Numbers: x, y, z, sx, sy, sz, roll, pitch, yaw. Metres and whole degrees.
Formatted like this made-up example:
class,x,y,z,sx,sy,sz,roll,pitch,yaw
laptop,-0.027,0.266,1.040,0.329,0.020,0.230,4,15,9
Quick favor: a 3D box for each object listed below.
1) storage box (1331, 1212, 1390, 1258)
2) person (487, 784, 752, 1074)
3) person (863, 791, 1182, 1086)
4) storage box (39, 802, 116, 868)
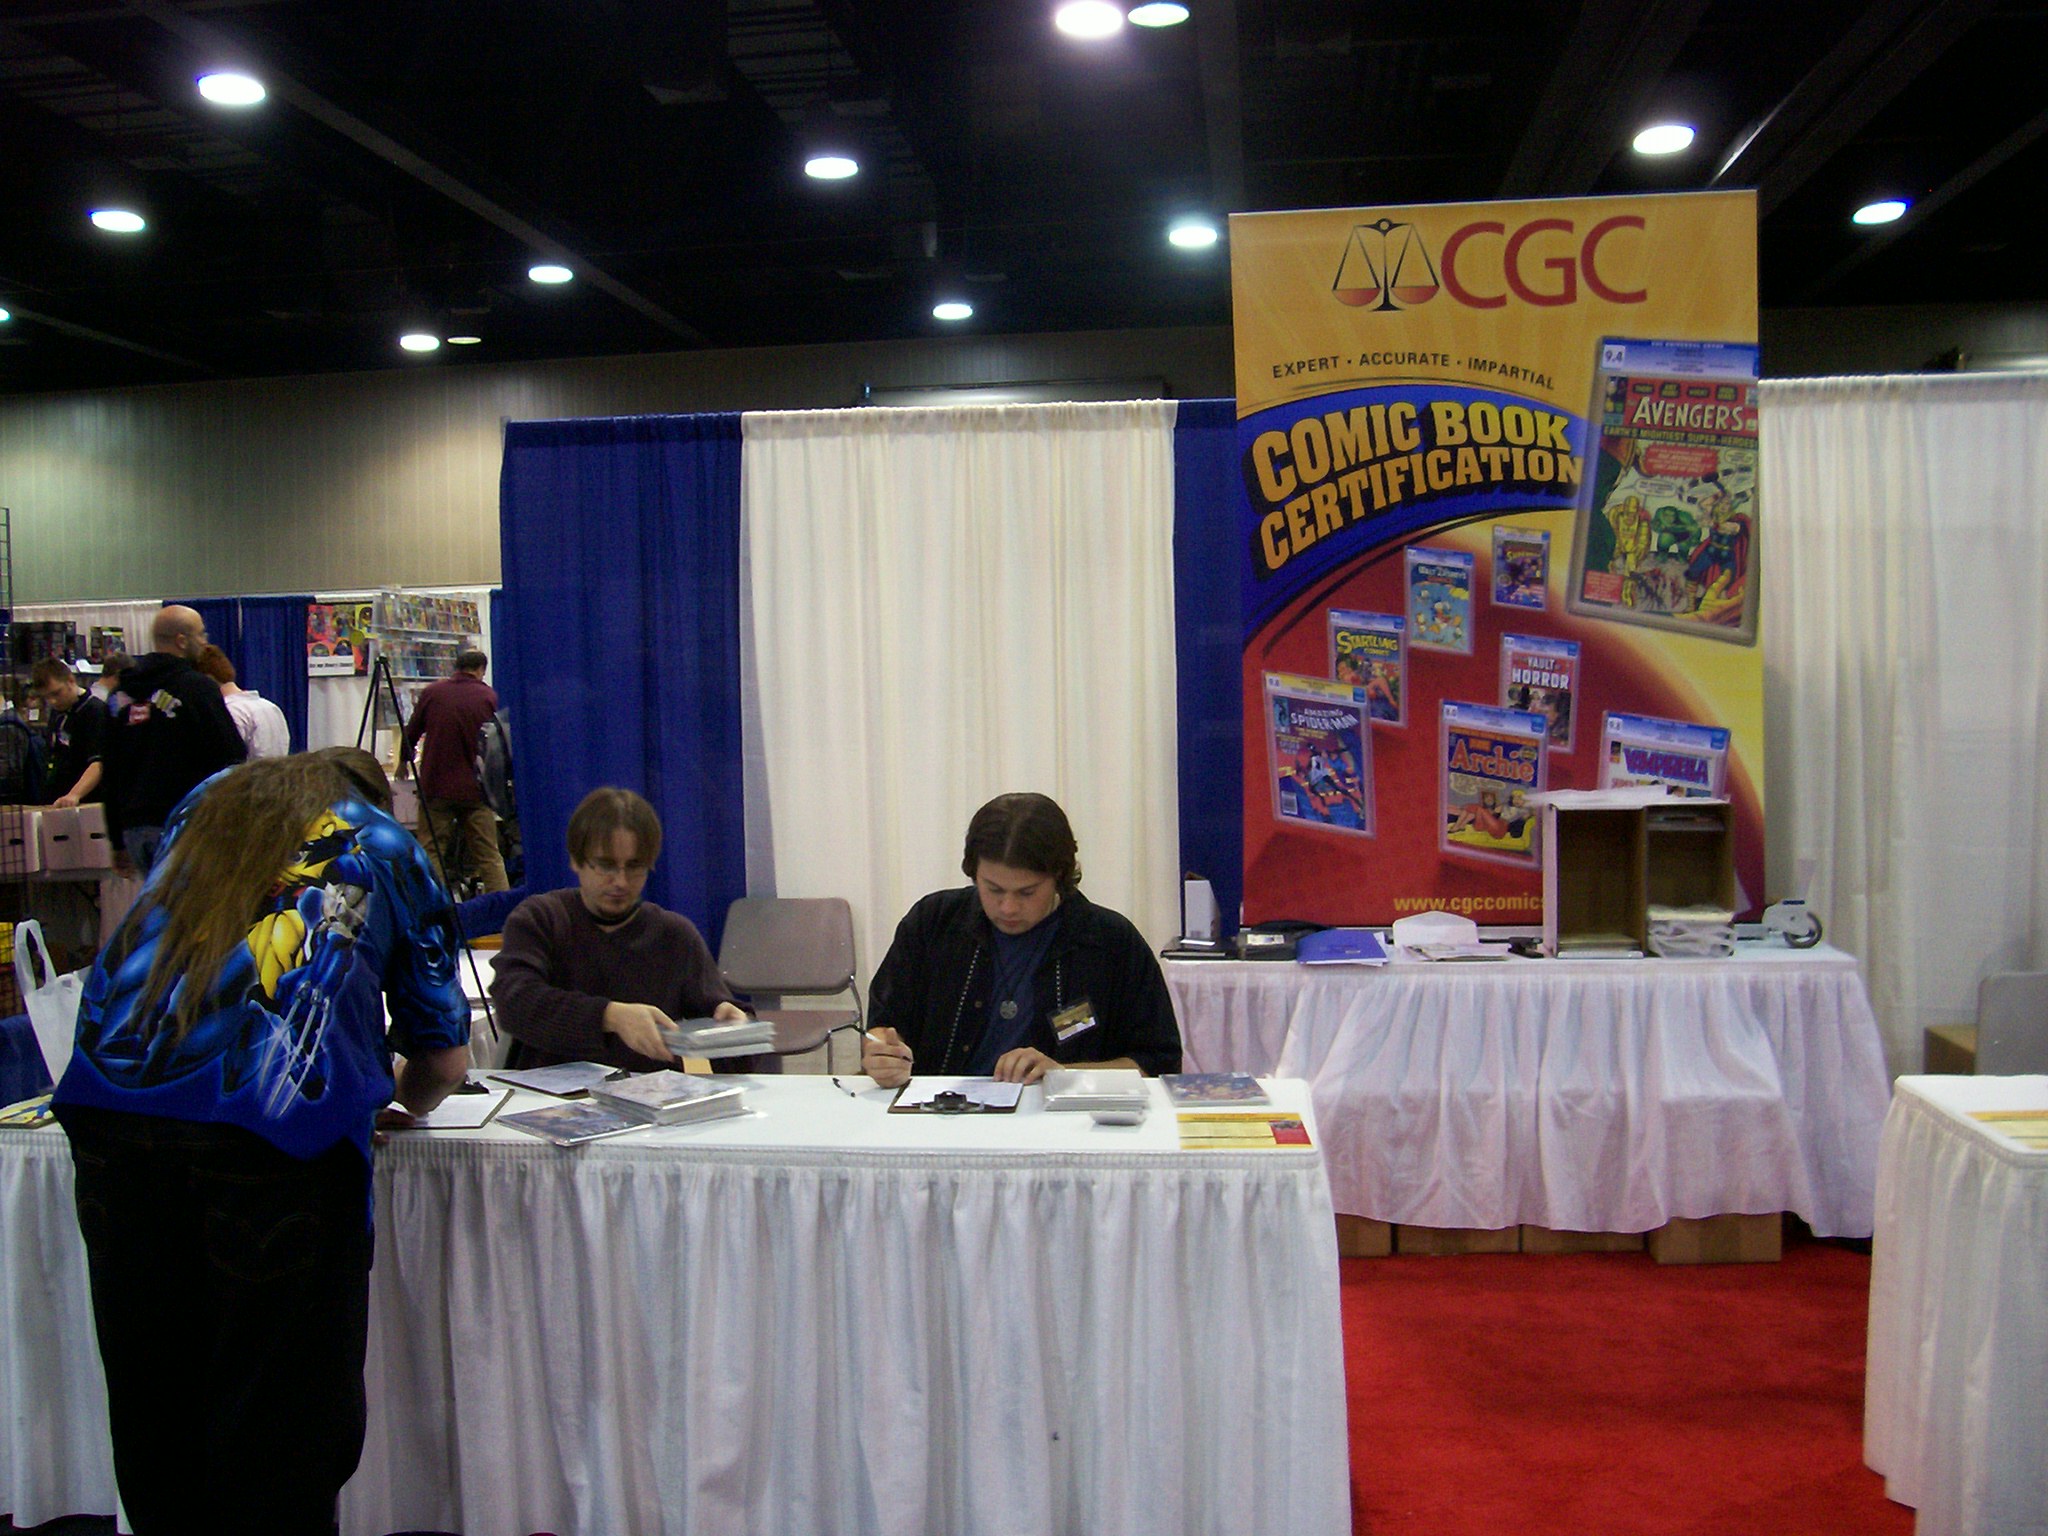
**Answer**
class,x,y,z,sx,sy,sz,roll,pitch,yaw
storage box,1.034,1.418,5.148,0.112,0.138,0.130,1,-2,-6
person,-1.068,0.407,4.398,0.514,0.864,0.710,-2,8,-22
person,-0.021,0.480,4.309,0.786,0.925,0.512,11,30,13
storage box,-3.798,0.265,6.857,0.202,0.251,0.221,-2,1,12
